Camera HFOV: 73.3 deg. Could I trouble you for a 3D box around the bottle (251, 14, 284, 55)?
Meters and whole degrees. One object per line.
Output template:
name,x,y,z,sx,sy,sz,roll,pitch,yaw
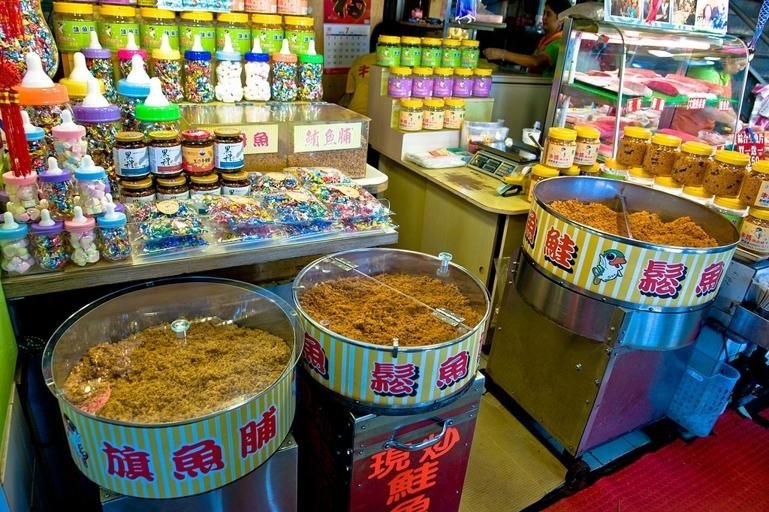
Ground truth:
bottle,-0.716,-1.354,3.168,0.210,0.224,0.215,21,26,29

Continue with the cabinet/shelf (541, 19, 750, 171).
cabinet/shelf,1.736,-1.057,3.409,1.178,1.068,0.374,-5,21,-26

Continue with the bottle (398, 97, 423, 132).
bottle,0.196,-1.047,3.827,0.204,0.222,0.197,-7,25,-25

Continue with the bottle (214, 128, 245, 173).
bottle,-0.793,-0.540,2.656,0.172,0.189,0.172,5,19,12

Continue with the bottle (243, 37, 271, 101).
bottle,-0.763,-1.108,3.084,0.186,0.349,0.137,-9,28,-19

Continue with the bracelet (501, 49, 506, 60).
bracelet,1.202,-2.012,5.169,0.028,0.086,0.077,5,16,-5

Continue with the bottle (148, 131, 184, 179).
bottle,-1.077,-0.489,2.486,0.154,0.205,0.195,18,24,31

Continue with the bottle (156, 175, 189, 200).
bottle,-1.013,-0.340,2.518,0.126,0.129,0.125,18,22,37

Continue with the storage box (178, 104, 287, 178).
storage box,-0.921,-0.593,2.928,0.674,0.302,0.674,-3,11,7

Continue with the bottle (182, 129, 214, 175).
bottle,-0.879,-0.511,2.573,0.204,0.223,0.199,-2,24,-15

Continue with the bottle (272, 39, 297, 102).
bottle,-0.615,-1.124,3.143,0.178,0.340,0.140,-7,28,-16

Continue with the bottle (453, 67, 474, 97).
bottle,0.603,-1.301,3.891,0.163,0.206,0.078,-13,30,-26

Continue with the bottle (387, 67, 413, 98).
bottle,0.103,-1.253,3.769,0.204,0.204,0.199,-10,28,-29

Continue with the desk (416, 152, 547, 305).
desk,0.629,-0.179,3.181,0.333,0.732,0.783,-13,35,-25

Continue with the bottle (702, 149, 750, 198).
bottle,1.905,-0.491,2.983,0.239,0.317,0.269,10,18,19

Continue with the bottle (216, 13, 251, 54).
bottle,-0.912,-1.331,3.126,0.236,0.251,0.231,3,20,-4

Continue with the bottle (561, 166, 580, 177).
bottle,1.142,-0.522,3.194,0.077,0.034,0.079,0,20,0

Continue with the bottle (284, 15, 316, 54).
bottle,-0.533,-1.374,3.238,0.218,0.232,0.212,-7,28,-22

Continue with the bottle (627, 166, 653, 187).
bottle,1.567,-0.488,3.171,0.140,0.062,0.141,-1,24,0

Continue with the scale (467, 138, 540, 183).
scale,0.859,-0.679,3.646,0.366,0.140,0.349,-19,37,-27

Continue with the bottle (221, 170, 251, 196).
bottle,-0.747,-0.382,2.645,0.125,0.121,0.123,-15,26,-43

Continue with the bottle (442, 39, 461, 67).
bottle,0.503,-1.507,3.854,0.147,0.193,0.101,-1,27,-4

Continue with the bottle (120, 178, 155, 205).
bottle,-1.157,-0.307,2.433,0.135,0.143,0.131,1,19,-20

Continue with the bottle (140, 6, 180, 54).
bottle,-1.256,-1.292,2.969,0.235,0.245,0.229,-13,29,-31

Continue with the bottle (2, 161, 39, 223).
bottle,-1.463,-0.244,2.089,0.129,0.202,0.089,-12,29,-24

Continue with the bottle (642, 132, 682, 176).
bottle,1.703,-0.621,3.149,0.175,0.229,0.159,2,36,8

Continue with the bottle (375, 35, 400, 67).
bottle,0.037,-1.523,3.833,0.204,0.200,0.201,25,35,32

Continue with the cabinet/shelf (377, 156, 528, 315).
cabinet/shelf,0.457,-0.144,3.122,0.370,0.794,0.852,-18,34,-33

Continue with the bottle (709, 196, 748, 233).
bottle,1.934,-0.265,2.910,0.185,0.178,0.189,13,29,30

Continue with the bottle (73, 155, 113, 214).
bottle,-1.254,-0.300,2.203,0.139,0.244,0.138,3,20,-1

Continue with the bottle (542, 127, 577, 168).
bottle,1.093,-0.659,3.189,0.204,0.244,0.134,2,27,2

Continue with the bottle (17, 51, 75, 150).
bottle,-1.439,-0.630,2.178,0.186,0.382,0.174,7,27,-3

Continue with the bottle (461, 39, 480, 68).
bottle,0.661,-1.521,3.907,0.096,0.191,0.196,23,34,37

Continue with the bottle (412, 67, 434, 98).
bottle,0.275,-1.264,3.783,0.139,0.201,0.085,0,27,-3

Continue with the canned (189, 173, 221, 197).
canned,-0.890,-0.352,2.567,0.123,0.112,0.119,-9,24,-34

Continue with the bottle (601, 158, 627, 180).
bottle,1.448,-0.538,3.271,0.142,0.136,0.144,21,39,33

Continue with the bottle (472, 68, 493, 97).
bottle,0.717,-1.320,3.968,0.198,0.219,0.195,1,29,1

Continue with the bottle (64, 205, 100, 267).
bottle,-1.264,-0.085,2.159,0.117,0.255,0.066,-17,32,-31

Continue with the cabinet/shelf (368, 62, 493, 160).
cabinet/shelf,0.290,-1.300,3.918,0.996,0.656,0.676,-16,32,-29

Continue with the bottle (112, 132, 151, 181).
bottle,-1.196,-0.474,2.438,0.162,0.192,0.170,-13,28,-38

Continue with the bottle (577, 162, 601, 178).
bottle,1.310,-0.550,3.309,0.117,0.084,0.114,-2,23,1

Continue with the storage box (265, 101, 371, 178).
storage box,-0.335,-0.672,2.952,0.480,0.290,0.464,-10,27,-27

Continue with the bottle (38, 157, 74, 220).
bottle,-1.369,-0.276,2.162,0.122,0.251,0.133,0,14,0

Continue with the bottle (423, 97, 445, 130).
bottle,0.371,-1.045,3.814,0.168,0.226,0.084,-3,27,-9

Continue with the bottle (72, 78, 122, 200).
bottle,-1.365,-0.554,2.444,0.202,0.546,0.195,8,22,-3
